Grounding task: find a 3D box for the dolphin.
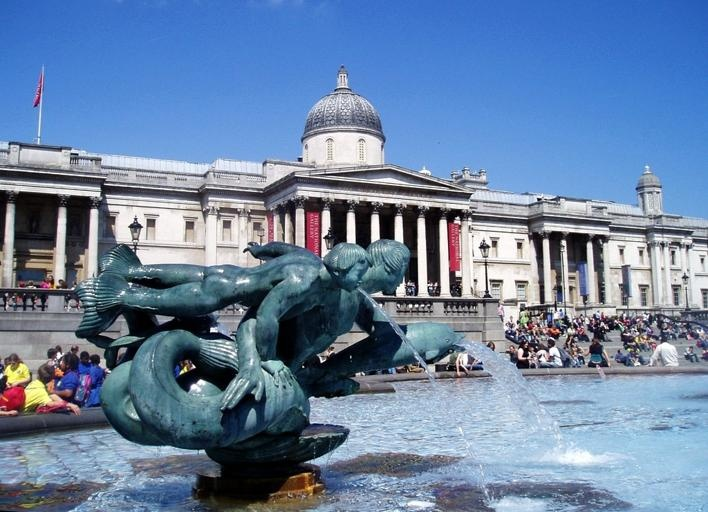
[{"bbox_3d":[0.341,1.016,7.136,1.947,0.628,0.643,-5,21,-4],"label":"dolphin"}]
